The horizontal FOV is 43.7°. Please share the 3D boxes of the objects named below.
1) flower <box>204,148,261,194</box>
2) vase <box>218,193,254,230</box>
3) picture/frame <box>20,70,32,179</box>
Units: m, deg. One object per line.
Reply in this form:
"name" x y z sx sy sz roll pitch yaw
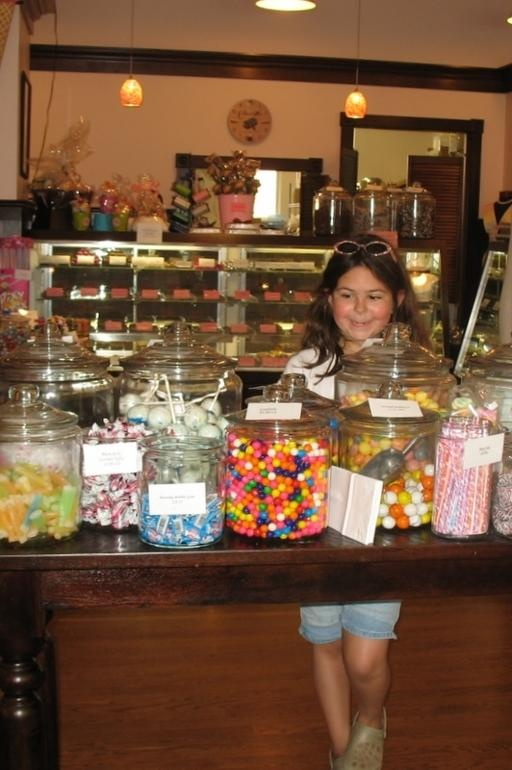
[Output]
"flower" -0.120 -1.224 3.778 0.305 0.288 0.162 0 11 8
"vase" -0.125 -1.046 3.875 0.221 0.221 0.206 4 10 19
"picture/frame" -1.422 -1.592 3.928 0.053 0.681 0.591 0 4 -19
